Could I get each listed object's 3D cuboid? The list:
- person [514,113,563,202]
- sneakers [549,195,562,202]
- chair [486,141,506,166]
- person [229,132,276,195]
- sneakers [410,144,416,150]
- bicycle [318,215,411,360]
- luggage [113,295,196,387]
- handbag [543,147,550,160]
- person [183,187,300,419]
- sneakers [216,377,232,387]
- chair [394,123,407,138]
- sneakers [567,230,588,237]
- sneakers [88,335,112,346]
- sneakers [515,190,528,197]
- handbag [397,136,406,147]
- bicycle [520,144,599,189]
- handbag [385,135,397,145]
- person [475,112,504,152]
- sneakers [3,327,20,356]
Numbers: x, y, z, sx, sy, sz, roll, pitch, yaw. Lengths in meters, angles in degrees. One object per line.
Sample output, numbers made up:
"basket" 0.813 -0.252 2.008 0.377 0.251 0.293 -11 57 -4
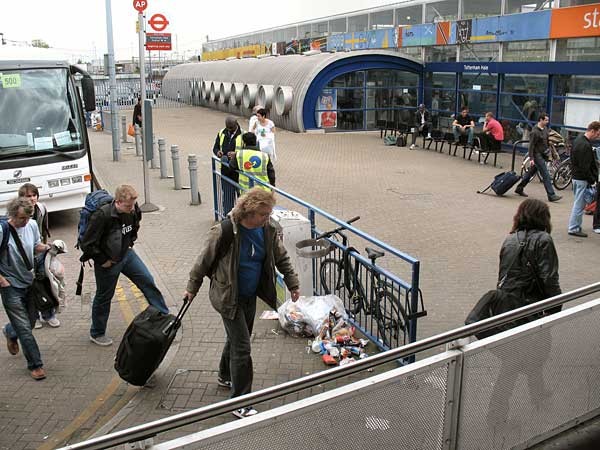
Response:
"person" 6.559 -1.901 12.583 1.021 2.373 1.066 5 18 19
"sneakers" 6.950 -0.768 12.636 0.363 0.184 0.148 -4 23 -5
"chair" 7.135 -2.702 16.997 0.796 0.936 0.441 -17 23 -42
"person" -0.908 -1.227 8.831 0.803 1.046 1.374 -5 18 -13
"sneakers" 5.033 -3.545 20.695 0.171 0.157 0.414 -15 2 28
"bicycle" 0.811 0.811 5.911 0.621 1.365 2.072 -9 20 -26
"luggage" -1.671 1.399 5.358 0.514 1.202 0.460 39 20 31
"handbag" 6.640 -1.940 12.460 0.105 0.362 0.508 11 21 35
"person" -0.543 0.639 4.587 1.059 2.032 0.586 -13 20 -34
"sneakers" -0.823 1.730 5.090 0.216 0.091 0.077 6 18 15
"chair" 4.662 -4.470 21.243 0.500 0.685 0.550 2 25 6
"sneakers" 5.947 0.182 9.947 0.377 0.167 0.143 1 23 2
"sneakers" -2.603 1.516 6.044 0.286 0.120 0.121 6 25 13
"sneakers" 6.353 -0.937 13.204 0.389 0.183 0.135 -1 38 -13
"handbag" 4.593 -3.956 21.338 0.395 0.470 0.478 -5 15 -10
"bicycle" 6.743 -1.515 12.055 2.103 1.360 1.073 -10 20 -22
"handbag" 4.228 -4.106 21.735 0.375 0.547 0.496 -5 -2 -1
"person" 7.096 -3.549 17.245 0.817 1.418 0.718 12 21 35
"sneakers" -3.555 1.490 5.717 0.158 0.454 0.142 -10 12 -43
